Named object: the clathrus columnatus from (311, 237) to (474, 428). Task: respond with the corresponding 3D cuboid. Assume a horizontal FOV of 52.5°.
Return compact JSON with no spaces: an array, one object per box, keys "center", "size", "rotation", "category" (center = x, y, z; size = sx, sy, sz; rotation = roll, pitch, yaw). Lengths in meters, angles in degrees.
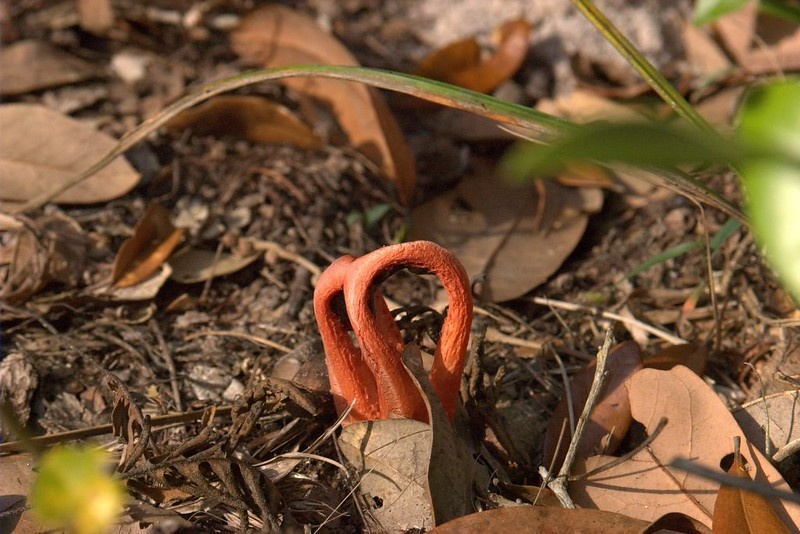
[{"center":[-0.010,0.182,2.114],"size":[0.367,0.505,0.414],"rotation":[-13,54,-18],"category":"clathrus columnatus"}]
